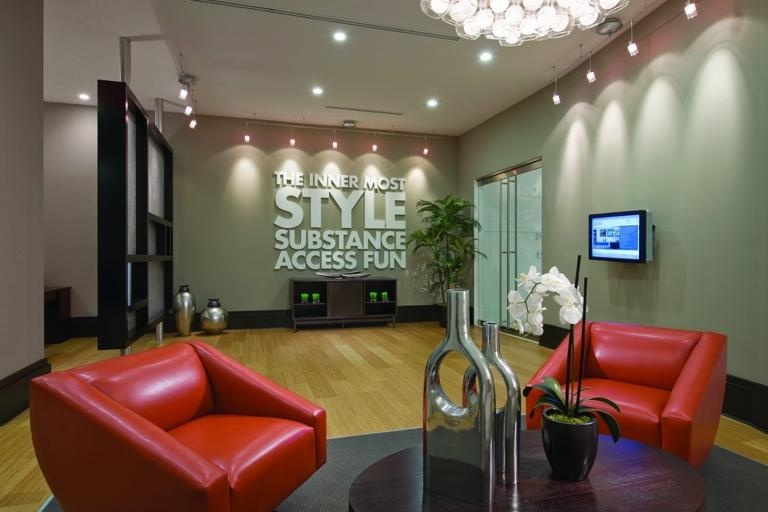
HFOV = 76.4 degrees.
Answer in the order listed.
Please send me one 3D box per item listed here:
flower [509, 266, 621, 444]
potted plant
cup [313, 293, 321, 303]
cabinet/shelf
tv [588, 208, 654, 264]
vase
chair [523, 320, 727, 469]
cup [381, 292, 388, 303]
[{"bbox_3d":[1.154,0.664,3.197,0.700,1.218,0.995,0,1,25],"label":"flower"},{"bbox_3d":[1.077,0.019,8.842,1.183,2.376,1.231,-1,2,-39],"label":"potted plant"},{"bbox_3d":[-1.164,0.717,8.400,0.142,0.159,0.279,-1,1,-7],"label":"cup"},{"bbox_3d":[-0.676,0.815,8.584,1.882,0.876,0.465,-1,1,-17],"label":"cabinet/shelf"},{"bbox_3d":[2.727,-0.223,5.733,0.152,0.569,0.740,-1,1,-19],"label":"tv"},{"bbox_3d":[1.066,1.147,2.992,0.335,0.364,0.338,0,-6,0],"label":"vase"},{"bbox_3d":[2.007,0.990,3.953,1.303,1.149,1.219,3,3,38],"label":"chair"},{"bbox_3d":[0.044,0.740,8.731,0.129,0.164,0.159,-1,-5,3],"label":"cup"}]
